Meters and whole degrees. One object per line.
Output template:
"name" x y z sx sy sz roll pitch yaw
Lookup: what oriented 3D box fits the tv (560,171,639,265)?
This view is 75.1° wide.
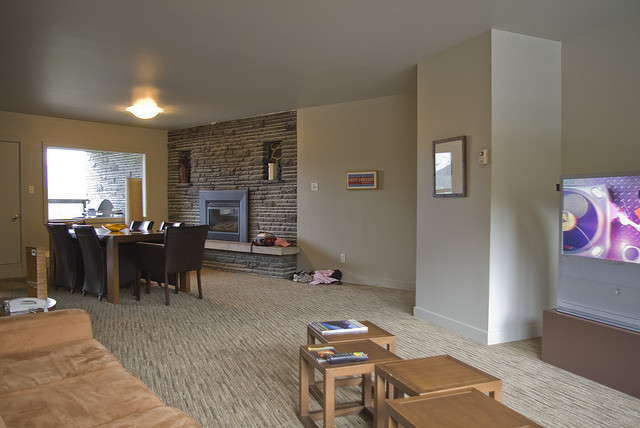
"tv" 2.631 0.046 3.891 0.043 0.892 0.970 2 -2 -40

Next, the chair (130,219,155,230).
"chair" -3.118 0.198 7.345 0.262 0.293 0.276 2 -1 -39

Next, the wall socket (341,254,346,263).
"wall socket" 0.403 0.763 7.204 0.087 0.155 0.016 4 10 22

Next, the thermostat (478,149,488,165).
"thermostat" 1.783 -0.626 4.584 0.044 0.164 0.126 -5 10 -30

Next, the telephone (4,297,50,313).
"telephone" -2.640 0.815 3.748 0.240 0.050 0.240 2 0 41

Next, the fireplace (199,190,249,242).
"fireplace" -1.882 0.026 8.538 1.209 0.969 0.414 2 1 23
